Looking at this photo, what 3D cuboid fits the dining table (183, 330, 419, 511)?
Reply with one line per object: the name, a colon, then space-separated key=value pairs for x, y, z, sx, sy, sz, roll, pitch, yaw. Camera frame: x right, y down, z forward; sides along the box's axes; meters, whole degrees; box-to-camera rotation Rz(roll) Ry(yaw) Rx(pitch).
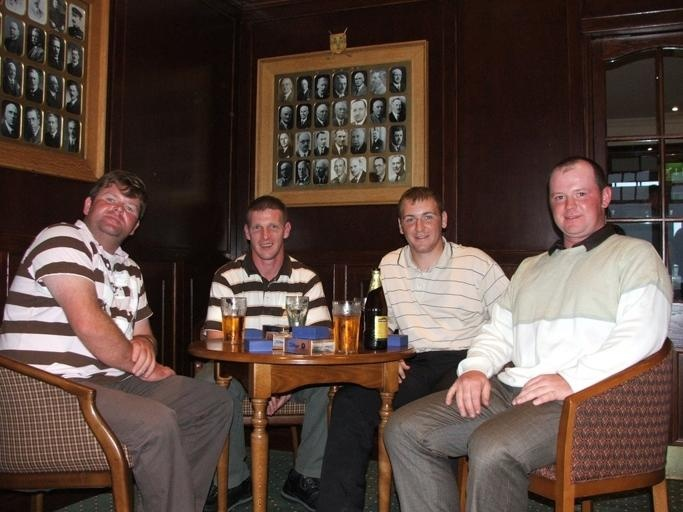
dining table: x=-0.179 y=0.633 z=2.854 sx=0.856 sy=0.681 sz=0.833 roll=2 pitch=-9 yaw=-25
